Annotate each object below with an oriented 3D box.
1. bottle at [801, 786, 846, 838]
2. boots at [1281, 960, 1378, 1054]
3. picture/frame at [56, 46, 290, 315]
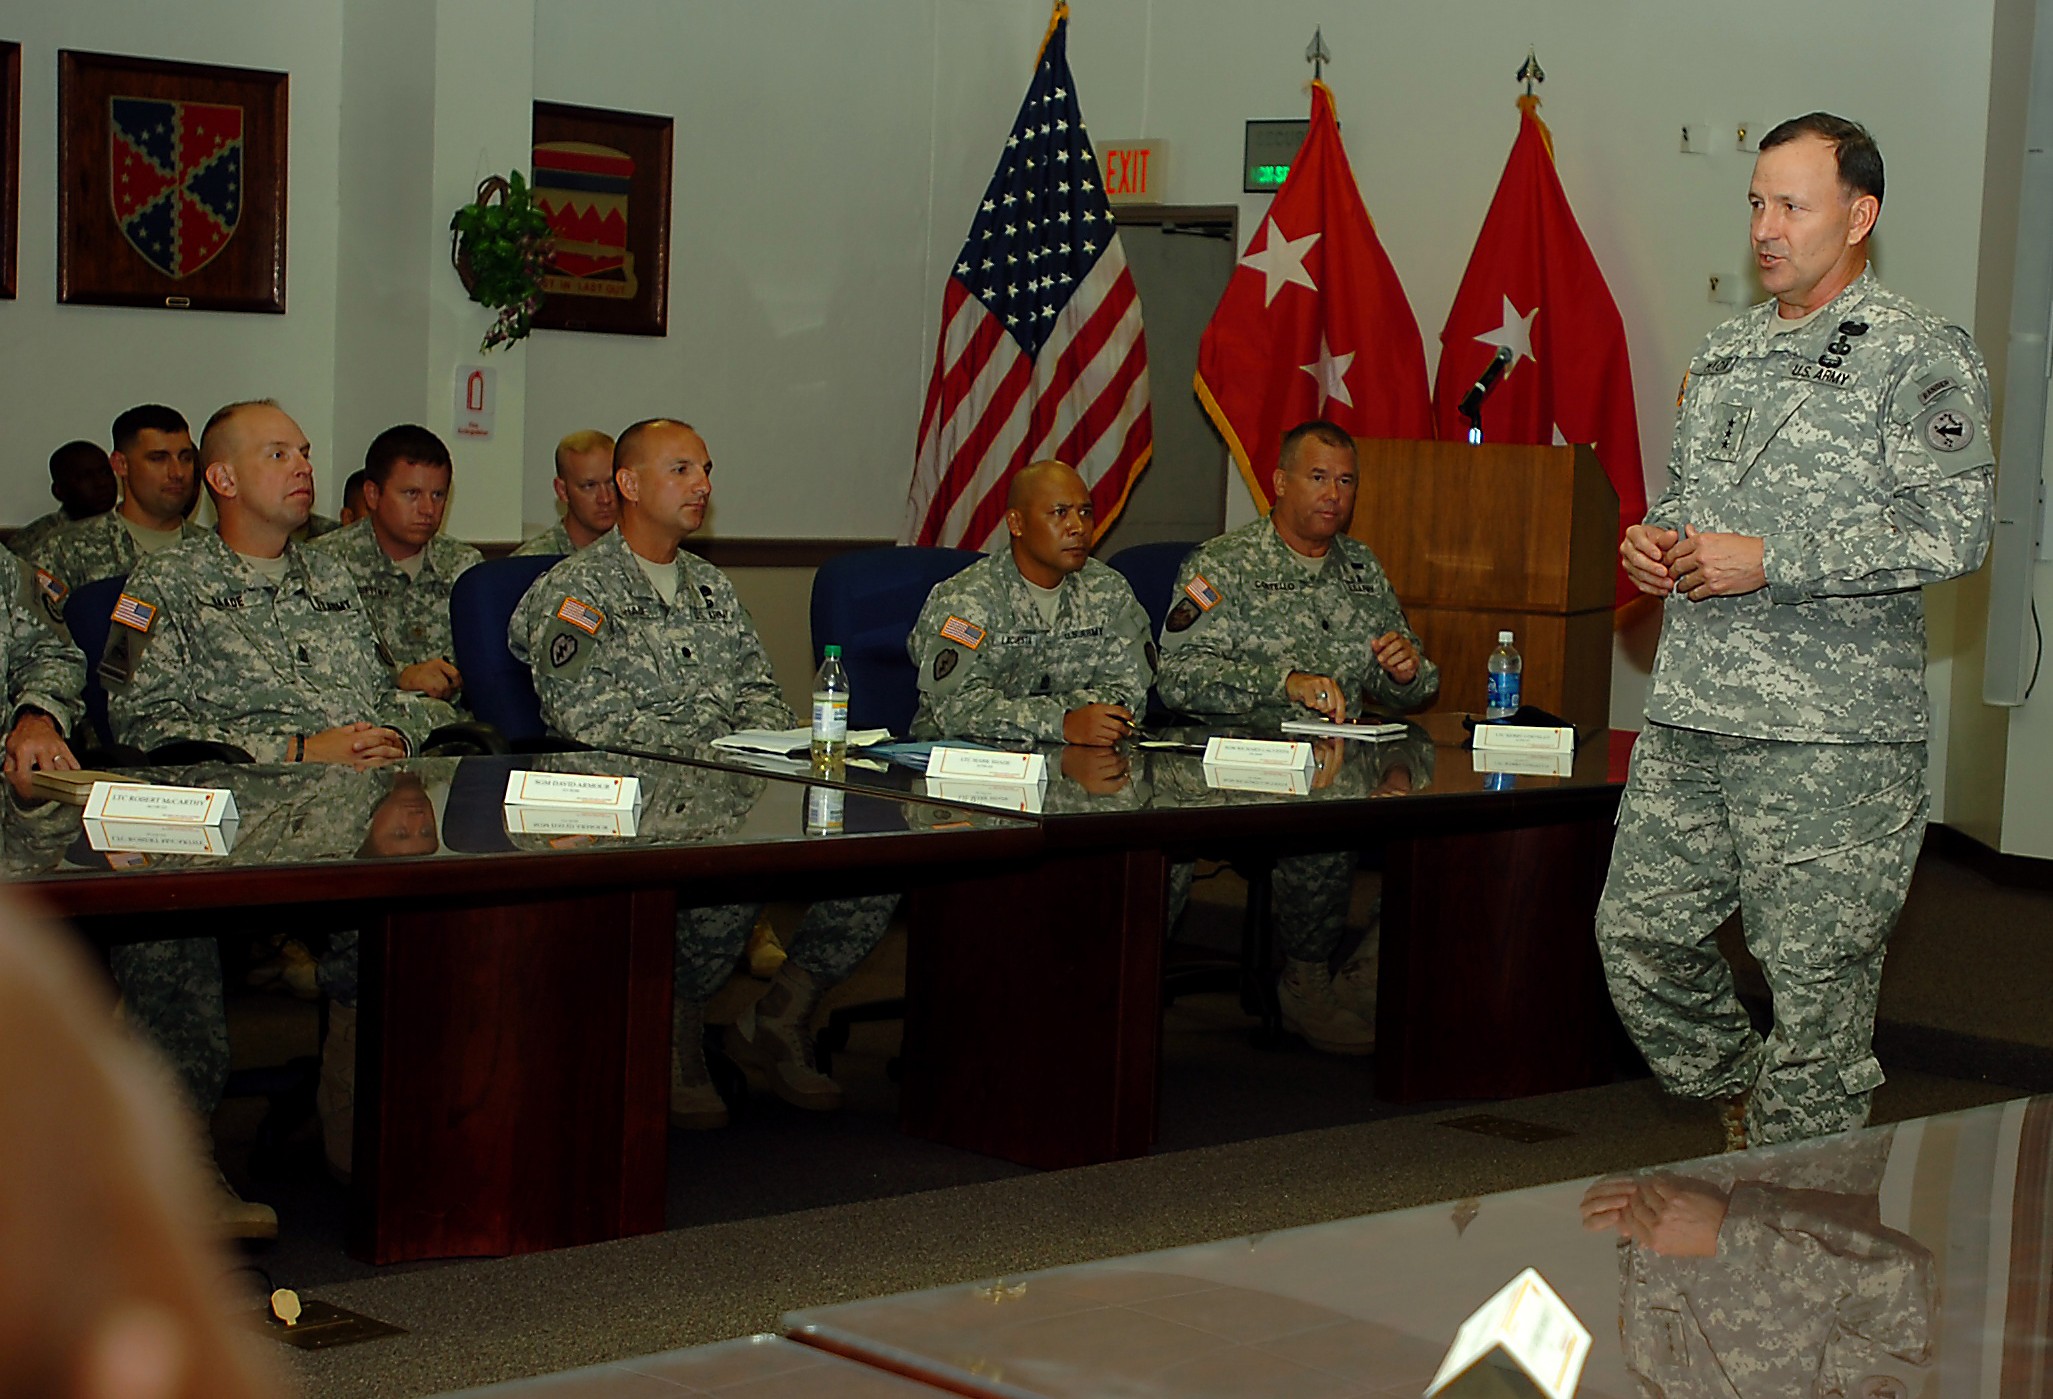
[{"bbox_3d":[-0.332,0.182,2.751,0.056,0.095,0.059,0,2,0],"label":"bottle"},{"bbox_3d":[0.811,0.767,4.279,0.127,0.219,0.342,-17,-15,17],"label":"boots"},{"bbox_3d":[-2.910,-1.755,5.693,0.965,1.067,0.081,0,0,-32],"label":"picture/frame"}]
